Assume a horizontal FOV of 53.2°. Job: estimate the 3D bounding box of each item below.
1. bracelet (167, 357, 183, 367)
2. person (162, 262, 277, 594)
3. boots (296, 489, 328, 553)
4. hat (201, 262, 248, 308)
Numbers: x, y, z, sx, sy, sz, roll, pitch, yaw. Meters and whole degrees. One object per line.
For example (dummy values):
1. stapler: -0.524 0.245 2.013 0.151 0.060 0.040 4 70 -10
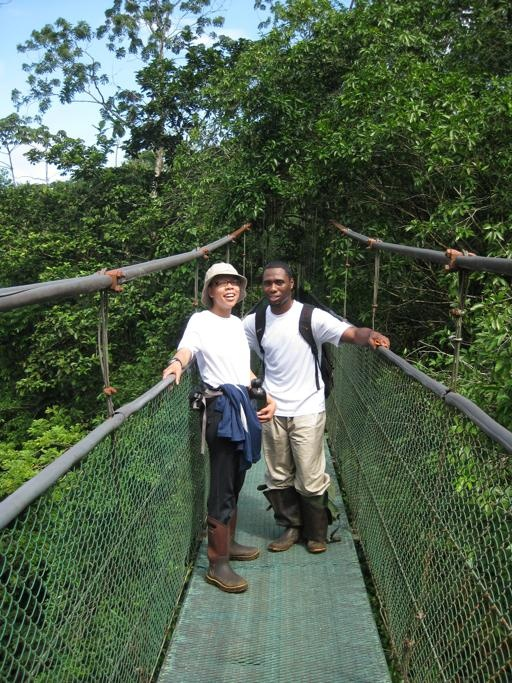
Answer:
1. bracelet: -0.327 0.074 2.051 0.040 0.027 0.042 24 3 -1
2. person: -0.132 0.401 2.409 0.432 1.553 0.739 0 5 1
3. boots: 0.327 0.965 2.805 0.118 0.308 0.227 -7 -4 18
4. hat: -0.179 -0.327 2.694 0.235 0.295 0.153 -2 52 -8
